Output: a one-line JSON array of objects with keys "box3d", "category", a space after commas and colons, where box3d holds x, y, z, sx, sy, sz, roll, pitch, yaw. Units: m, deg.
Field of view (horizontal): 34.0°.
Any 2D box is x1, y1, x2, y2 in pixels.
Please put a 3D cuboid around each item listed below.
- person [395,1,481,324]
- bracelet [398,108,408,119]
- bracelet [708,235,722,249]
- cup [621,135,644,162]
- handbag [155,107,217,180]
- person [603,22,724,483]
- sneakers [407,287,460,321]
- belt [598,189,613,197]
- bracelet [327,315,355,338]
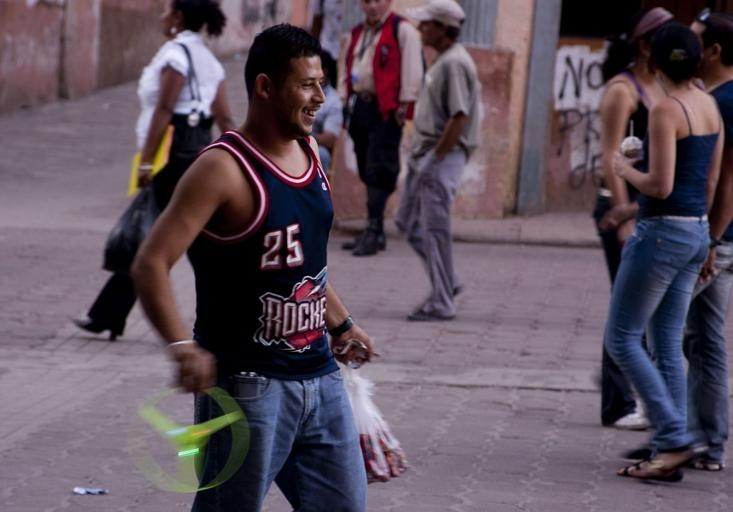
[{"box3d": [0.580, -0.775, 9.836, 0.666, 2.599, 0.474, -1, 11, 1], "category": "person"}, {"box3d": [0.347, -1.398, 11.733, 0.093, 0.097, 0.103, 3, 4, 0], "category": "bracelet"}, {"box3d": [2.087, -0.082, 7.113, 0.087, 0.062, 0.029, 17, -39, -17], "category": "bracelet"}, {"box3d": [1.606, -0.641, 7.143, 0.117, 0.121, 0.150, 3, -10, -33], "category": "cup"}, {"box3d": [-1.261, -0.808, 8.812, 0.549, 0.406, 0.445, 3, 6, 9], "category": "handbag"}, {"box3d": [1.709, -0.004, 6.941, 0.581, 2.623, 0.461, 2, 12, 16], "category": "person"}, {"box3d": [0.596, 0.419, 9.990, 0.572, 0.234, 0.194, 0, 9, -6], "category": "sneakers"}, {"box3d": [1.522, -0.406, 7.658, 0.057, 0.042, 0.058, 5, 9, 30], "category": "belt"}, {"box3d": [-0.122, 0.348, 5.820, 0.119, 0.045, 0.089, -33, -1, 1], "category": "bracelet"}]
